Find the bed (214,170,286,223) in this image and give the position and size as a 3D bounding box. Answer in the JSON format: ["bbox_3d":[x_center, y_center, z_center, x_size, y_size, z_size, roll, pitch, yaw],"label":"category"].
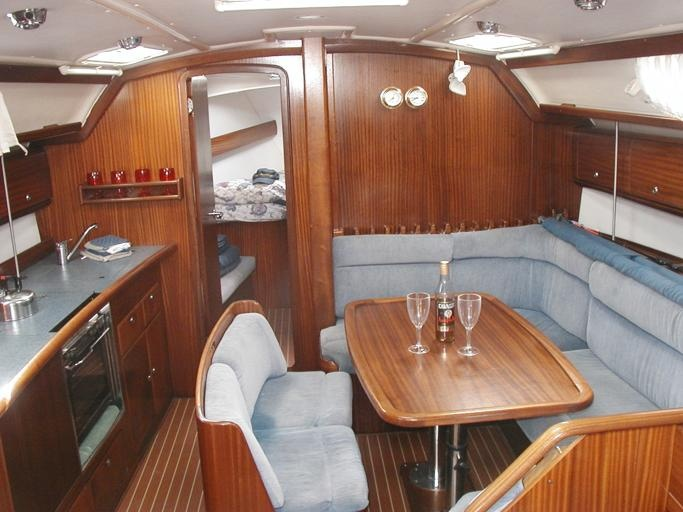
[{"bbox_3d":[-0.880,-0.538,4.761,0.647,0.367,0.720,-3,11,-9],"label":"bed"}]

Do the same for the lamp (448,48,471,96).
[{"bbox_3d":[0.754,-1.187,3.094,0.144,0.307,0.402,2,11,14],"label":"lamp"}]

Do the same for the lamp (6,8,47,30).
[{"bbox_3d":[-1.067,-0.819,1.659,0.116,0.043,0.185,-7,12,-28],"label":"lamp"}]

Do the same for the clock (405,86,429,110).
[{"bbox_3d":[0.497,-1.059,3.214,0.138,0.142,0.039,-2,12,-5],"label":"clock"}]

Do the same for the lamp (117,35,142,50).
[{"bbox_3d":[-1.013,-1.036,2.330,0.083,0.034,0.083,18,33,39],"label":"lamp"}]

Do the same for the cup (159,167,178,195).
[{"bbox_3d":[-1.139,-0.505,3.210,0.112,0.178,0.113,-3,28,1],"label":"cup"}]

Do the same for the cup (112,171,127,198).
[{"bbox_3d":[-1.459,-0.478,3.190,0.087,0.180,0.125,-5,12,-15],"label":"cup"}]

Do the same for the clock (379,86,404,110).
[{"bbox_3d":[0.334,-1.055,3.206,0.158,0.142,0.055,0,12,5],"label":"clock"}]

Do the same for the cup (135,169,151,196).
[{"bbox_3d":[-1.305,-0.492,3.204,0.095,0.182,0.102,-1,12,0],"label":"cup"}]
